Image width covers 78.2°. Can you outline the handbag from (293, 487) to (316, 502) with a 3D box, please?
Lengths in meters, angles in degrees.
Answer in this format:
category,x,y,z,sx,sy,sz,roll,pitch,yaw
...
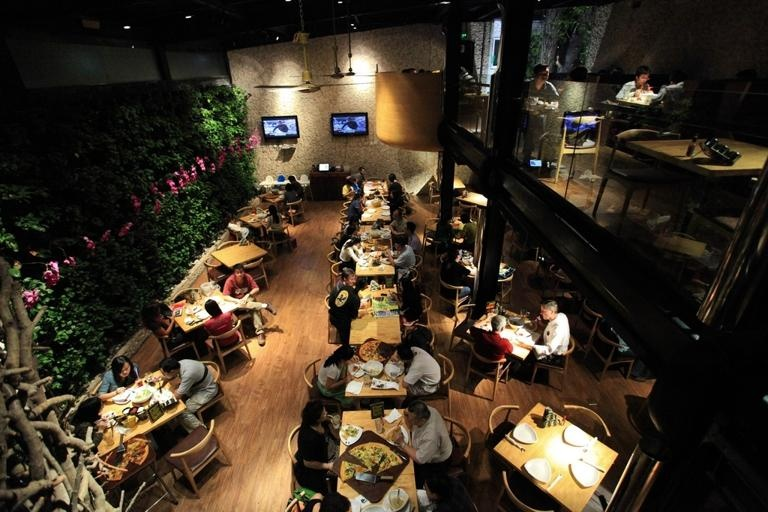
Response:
category,x,y,z,sx,sy,sz,roll,pitch,yaw
handbag,-0.876,2.632,5.217,0.155,0.065,0.120,1,13,-6

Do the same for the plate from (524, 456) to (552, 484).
category,x,y,z,sx,sy,sz,roll,pitch,yaw
plate,1.694,2.350,5.219,0.288,0.085,0.265,4,28,15

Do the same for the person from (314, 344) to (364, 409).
category,x,y,z,sx,sy,sz,roll,pitch,yaw
person,-0.596,1.649,6.355,0.558,0.979,0.401,-4,26,-20

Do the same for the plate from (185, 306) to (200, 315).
category,x,y,z,sx,sy,sz,roll,pitch,yaw
plate,-3.043,0.865,7.519,0.214,0.038,0.172,-9,27,-10

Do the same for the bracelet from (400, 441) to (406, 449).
category,x,y,z,sx,sy,sz,roll,pitch,yaw
bracelet,0.220,2.165,5.416,0.062,0.021,0.057,10,21,17

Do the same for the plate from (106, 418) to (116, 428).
category,x,y,z,sx,sy,sz,roll,pitch,yaw
plate,-3.313,2.025,5.730,0.081,0.021,0.078,13,27,2

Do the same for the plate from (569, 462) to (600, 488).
category,x,y,z,sx,sy,sz,roll,pitch,yaw
plate,2.209,2.381,5.175,0.295,0.080,0.267,-7,27,-7

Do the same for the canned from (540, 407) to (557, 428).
category,x,y,z,sx,sy,sz,roll,pitch,yaw
canned,1.964,1.925,5.642,0.197,0.079,0.192,-18,31,-22

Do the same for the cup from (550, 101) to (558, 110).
category,x,y,z,sx,sy,sz,roll,pitch,yaw
cup,1.634,-1.430,4.513,0.036,0.075,0.129,-13,29,-16

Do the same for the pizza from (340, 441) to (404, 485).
category,x,y,z,sx,sy,sz,roll,pitch,yaw
pizza,-0.117,2.294,5.281,0.722,0.118,0.451,0,27,6

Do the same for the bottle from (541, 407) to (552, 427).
category,x,y,z,sx,sy,sz,roll,pitch,yaw
bottle,1.945,1.930,5.652,0.100,0.215,0.086,13,35,15

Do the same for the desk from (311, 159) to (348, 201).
category,x,y,z,sx,sy,sz,roll,pitch,yaw
desk,-1.451,-2.413,14.640,0.792,1.235,1.413,-10,1,29

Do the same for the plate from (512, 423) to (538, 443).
category,x,y,z,sx,sy,sz,roll,pitch,yaw
plate,1.665,2.081,5.529,0.260,0.079,0.277,22,37,40

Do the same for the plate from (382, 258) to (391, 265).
category,x,y,z,sx,sy,sz,roll,pitch,yaw
plate,0.065,0.099,8.495,0.114,0.029,0.120,5,28,2

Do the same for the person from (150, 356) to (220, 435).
category,x,y,z,sx,sy,sz,roll,pitch,yaw
person,-2.683,1.866,6.463,0.584,1.109,0.644,6,18,25

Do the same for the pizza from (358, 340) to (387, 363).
category,x,y,z,sx,sy,sz,roll,pitch,yaw
pizza,-0.175,1.314,6.505,0.285,0.056,0.276,5,41,6

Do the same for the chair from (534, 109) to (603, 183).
category,x,y,z,sx,sy,sz,roll,pitch,yaw
chair,1.749,-0.995,4.236,0.368,0.551,0.390,4,22,17

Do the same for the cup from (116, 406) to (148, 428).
category,x,y,z,sx,sy,sz,roll,pitch,yaw
cup,-3.116,1.990,5.843,0.339,0.130,0.241,-24,33,-34

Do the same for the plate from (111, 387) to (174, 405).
category,x,y,z,sx,sy,sz,roll,pitch,yaw
plate,-3.055,1.784,6.122,0.779,0.096,0.319,-1,27,5

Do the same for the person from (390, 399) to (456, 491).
category,x,y,z,sx,sy,sz,roll,pitch,yaw
person,0.434,2.200,5.416,0.505,1.084,0.487,-3,42,5

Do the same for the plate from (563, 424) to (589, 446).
category,x,y,z,sx,sy,sz,roll,pitch,yaw
plate,2.227,2.095,5.477,0.292,0.084,0.253,18,34,36
